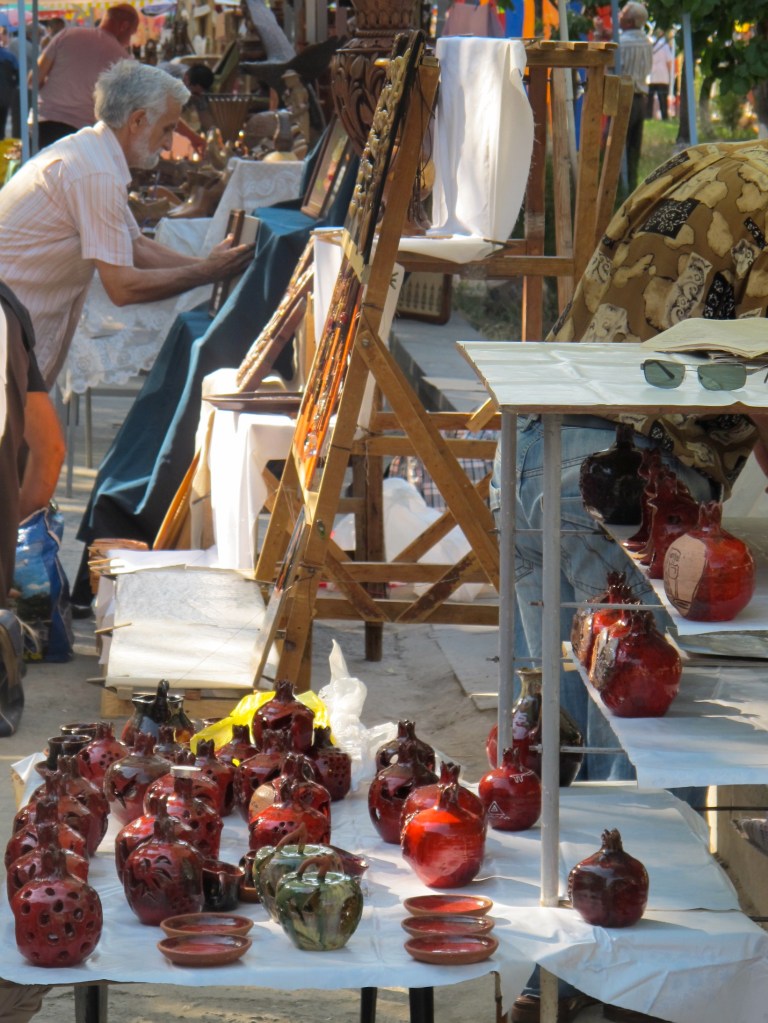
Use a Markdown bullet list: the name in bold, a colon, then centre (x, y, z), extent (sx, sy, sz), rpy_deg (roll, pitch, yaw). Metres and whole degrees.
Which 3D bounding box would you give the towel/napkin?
- **towel/napkin**: centre (0.216, -0.957, 3.674), extent (0.321, 0.585, 0.385), rpy_deg (1, 12, 4)

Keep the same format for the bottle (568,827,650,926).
- **bottle**: centre (0.279, 0.465, 1.792), extent (0.096, 0.125, 0.098), rpy_deg (-1, 0, 0)

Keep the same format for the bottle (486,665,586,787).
- **bottle**: centre (0.226, 0.331, 2.183), extent (0.182, 0.225, 0.175), rpy_deg (-1, 3, 0)
